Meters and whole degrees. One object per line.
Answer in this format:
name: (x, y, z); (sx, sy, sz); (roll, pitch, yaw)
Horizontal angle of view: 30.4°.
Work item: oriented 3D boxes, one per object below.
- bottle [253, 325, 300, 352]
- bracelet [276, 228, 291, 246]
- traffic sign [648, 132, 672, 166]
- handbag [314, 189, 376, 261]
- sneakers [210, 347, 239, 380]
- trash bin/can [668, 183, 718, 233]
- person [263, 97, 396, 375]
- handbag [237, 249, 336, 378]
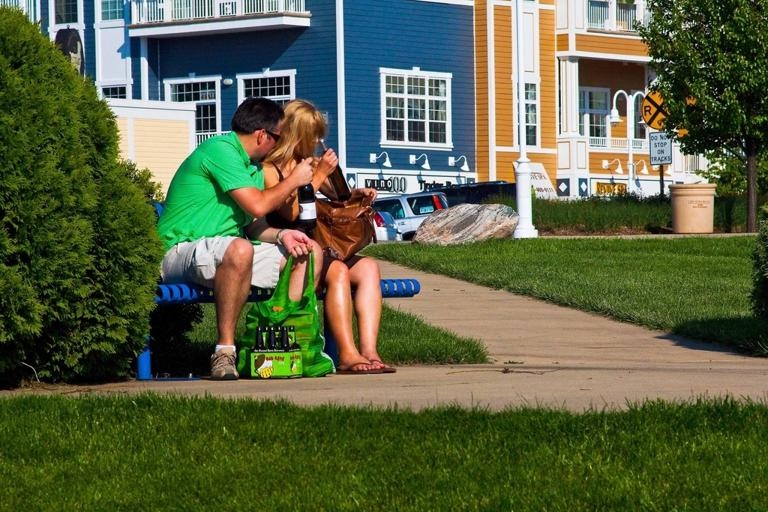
bottle: (-0.944, 0.708, 12.313); (0.390, 0.230, 0.089); (-1, 1, -13)
bracelet: (-0.902, -0.170, 12.402); (0.051, 0.133, 0.125); (8, -7, 13)
traffic sign: (6.079, -2.392, 31.177); (0.435, 0.731, 0.851); (-1, 1, 8)
handbag: (-0.340, -0.293, 12.846); (0.491, 0.609, 0.595); (-3, 1, -44)
sneakers: (-1.390, 0.926, 12.271); (0.229, 0.278, 0.178); (-1, 1, -13)
trash bin/can: (6.380, -0.956, 29.296); (0.930, 1.101, 0.983); (-1, 1, 20)
person: (-0.524, -0.076, 12.742); (0.715, 3.426, 0.745); (0, 1, -23)
handbag: (-0.872, 0.517, 12.395); (0.841, 1.067, 0.250); (-1, 1, -8)
